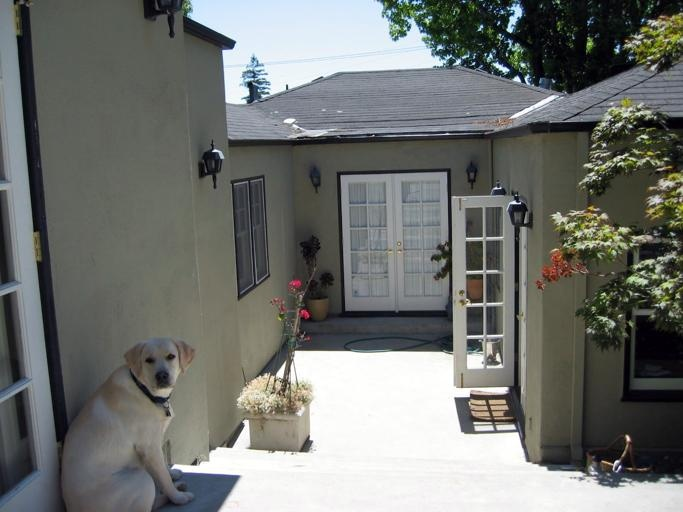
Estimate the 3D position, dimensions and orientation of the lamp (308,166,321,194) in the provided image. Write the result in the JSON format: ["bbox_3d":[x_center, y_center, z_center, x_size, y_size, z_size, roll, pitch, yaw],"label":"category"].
[{"bbox_3d":[-0.490,-1.413,11.360,0.223,0.500,0.210,1,3,-2],"label":"lamp"}]

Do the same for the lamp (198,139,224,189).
[{"bbox_3d":[-1.516,-1.092,7.286,0.254,0.585,0.434,1,3,3],"label":"lamp"}]

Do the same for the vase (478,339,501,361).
[{"bbox_3d":[1.833,1.161,7.663,0.188,0.245,0.250,0,-4,-3],"label":"vase"}]

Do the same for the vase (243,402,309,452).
[{"bbox_3d":[-0.702,1.841,6.965,0.461,0.376,0.519,-1,3,9],"label":"vase"}]

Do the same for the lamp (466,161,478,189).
[{"bbox_3d":[2.339,-1.460,11.059,0.224,0.512,0.204,1,3,12],"label":"lamp"}]

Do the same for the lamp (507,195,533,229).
[{"bbox_3d":[1.951,-0.502,6.756,0.257,0.375,0.467,2,4,15],"label":"lamp"}]
